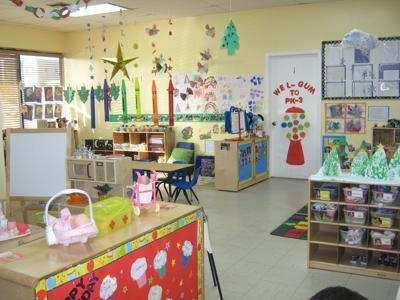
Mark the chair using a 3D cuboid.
[{"bbox_3d":[-0.322,0.742,6.513,0.481,0.792,0.479,9,12,7],"label":"chair"}]

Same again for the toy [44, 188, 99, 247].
[{"bbox_3d":[-0.937,0.497,2.139,0.297,0.346,0.275,-3,-15,-13],"label":"toy"}]

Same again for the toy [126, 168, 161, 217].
[{"bbox_3d":[-0.511,0.406,2.883,0.282,0.339,0.298,-5,9,-22],"label":"toy"}]

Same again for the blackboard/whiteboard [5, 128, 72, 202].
[{"bbox_3d":[-2.245,0.183,4.222,0.970,1.209,0.116,0,0,2],"label":"blackboard/whiteboard"}]

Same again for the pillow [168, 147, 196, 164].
[{"bbox_3d":[-0.526,0.198,8.798,0.492,0.515,0.151,10,-11,28],"label":"pillow"}]

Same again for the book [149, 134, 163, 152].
[{"bbox_3d":[-1.280,-0.208,9.217,0.495,0.484,0.108,3,9,30],"label":"book"}]
